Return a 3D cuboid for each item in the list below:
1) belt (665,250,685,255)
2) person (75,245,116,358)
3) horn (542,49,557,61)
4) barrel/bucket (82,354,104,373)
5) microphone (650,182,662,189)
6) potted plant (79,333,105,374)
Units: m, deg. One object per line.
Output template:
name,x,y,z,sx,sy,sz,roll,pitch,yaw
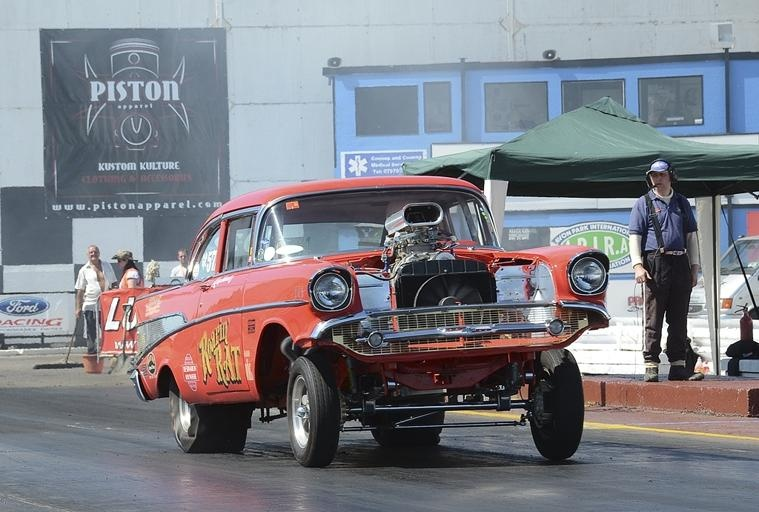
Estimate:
belt,4.695,-0.126,26.284,0.309,0.098,0.037,-7,5,-10
person,-5.917,0.908,34.665,1.019,2.407,0.776,-6,7,-16
horn,4.523,-5.604,44.198,0.362,0.340,0.753,-6,4,6
barrel/bucket,-6.001,2.181,34.265,0.408,0.294,0.411,2,-1,0
microphone,4.447,-1.215,26.321,0.118,0.060,0.157,6,-13,8
potted plant,-5.986,1.956,34.438,0.613,0.843,0.558,3,-1,-35
